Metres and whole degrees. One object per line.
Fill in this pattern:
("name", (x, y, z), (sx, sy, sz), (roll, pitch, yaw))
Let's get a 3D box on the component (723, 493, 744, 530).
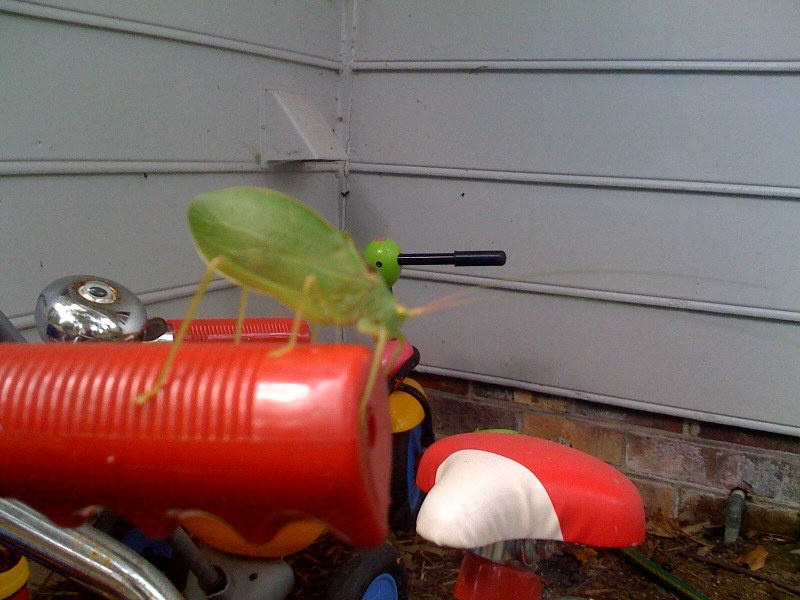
("component", (1.561, 0.979, 2.995), (0.084, 0.123, 0.081), (5, 4, 19))
